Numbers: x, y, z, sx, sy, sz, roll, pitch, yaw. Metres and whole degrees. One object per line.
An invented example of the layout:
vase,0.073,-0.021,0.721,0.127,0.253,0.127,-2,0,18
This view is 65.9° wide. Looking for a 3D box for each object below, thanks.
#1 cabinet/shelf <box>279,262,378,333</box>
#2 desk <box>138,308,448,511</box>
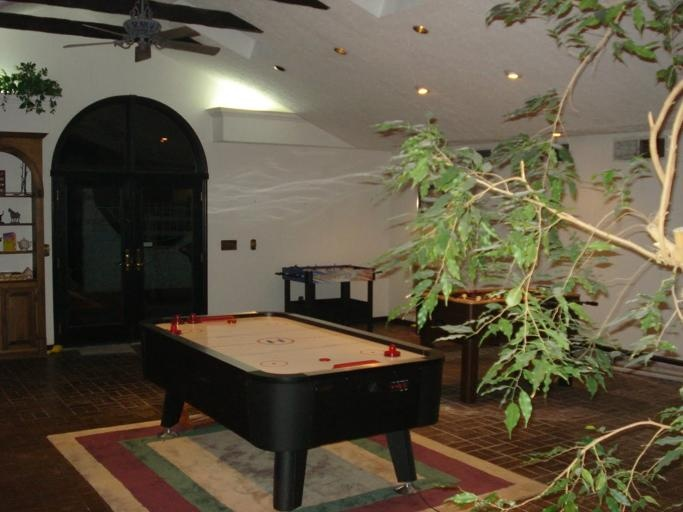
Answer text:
cabinet/shelf,-0.210,0.687,8.283,1.542,0.900,0.849,0,1,-36
desk,-0.532,1.058,4.016,1.307,0.972,2.302,-3,6,-38
